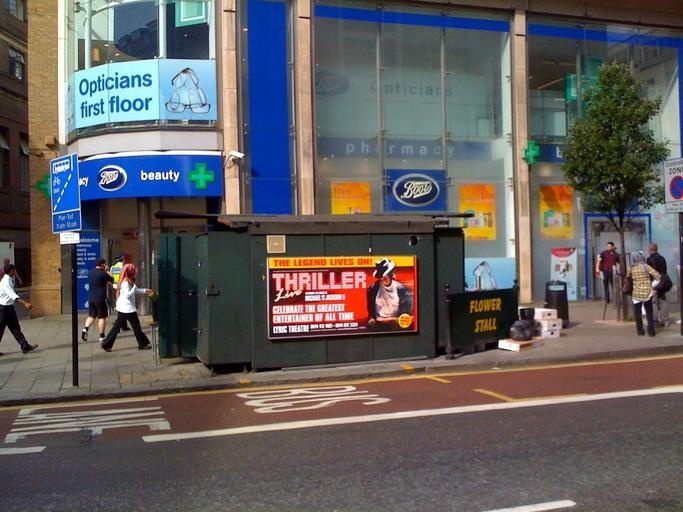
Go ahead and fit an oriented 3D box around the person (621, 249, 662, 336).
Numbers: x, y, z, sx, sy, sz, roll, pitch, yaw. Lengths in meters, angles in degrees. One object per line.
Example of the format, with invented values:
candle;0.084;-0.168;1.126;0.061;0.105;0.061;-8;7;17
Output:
person;7.292;0.904;17.050;0.761;1.967;1.206;3;9;26

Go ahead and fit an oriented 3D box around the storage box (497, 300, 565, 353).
storage box;4.388;1.701;16.262;0.817;0.594;1.489;2;8;29

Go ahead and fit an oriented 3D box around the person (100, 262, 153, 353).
person;-4.960;1.224;16.273;0.957;1.996;1.157;3;9;25
